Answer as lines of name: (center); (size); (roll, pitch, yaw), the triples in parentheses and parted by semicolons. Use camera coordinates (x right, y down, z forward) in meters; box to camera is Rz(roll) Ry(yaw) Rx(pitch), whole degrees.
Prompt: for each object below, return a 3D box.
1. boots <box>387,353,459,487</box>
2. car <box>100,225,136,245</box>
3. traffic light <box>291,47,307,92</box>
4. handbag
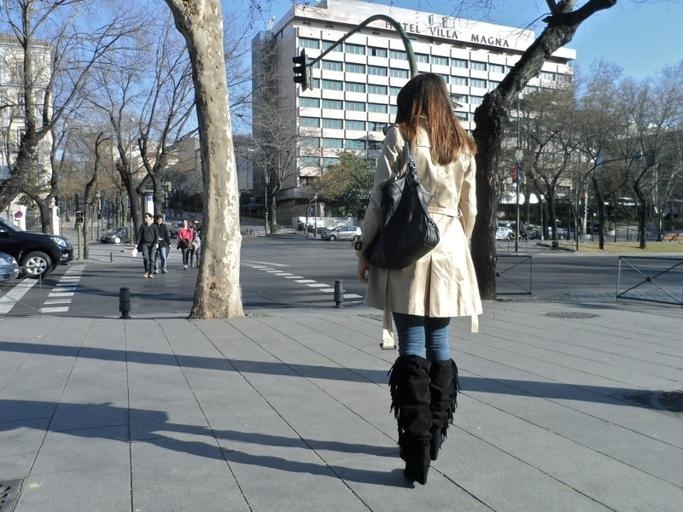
boots: (0.543, 1.114, 4.230); (0.327, 0.931, 0.643); (-12, -15, 40)
car: (-15.119, -1.615, 42.562); (1.477, 1.286, 2.458); (0, -4, 22)
traffic light: (-1.001, -4.627, 15.568); (0.384, 0.997, 1.475); (0, 5, -4)
handbag: (0.408, -0.332, 4.107); (0.246, 0.826, 0.408); (-4, 6, -41)
